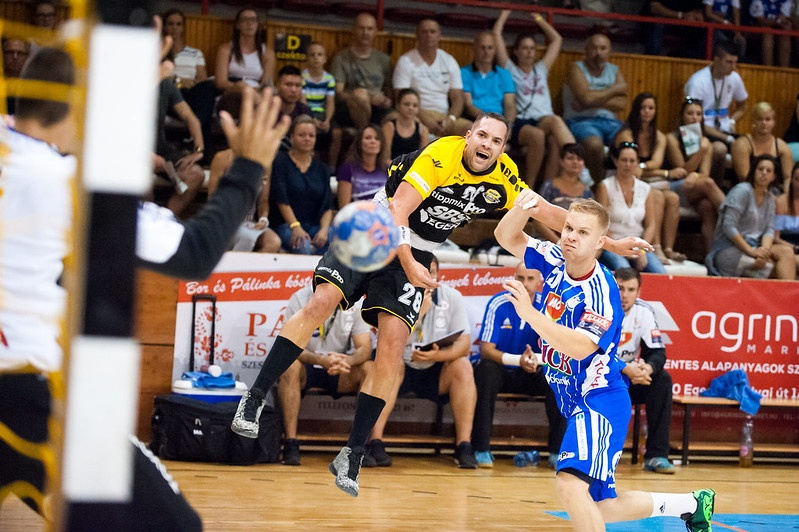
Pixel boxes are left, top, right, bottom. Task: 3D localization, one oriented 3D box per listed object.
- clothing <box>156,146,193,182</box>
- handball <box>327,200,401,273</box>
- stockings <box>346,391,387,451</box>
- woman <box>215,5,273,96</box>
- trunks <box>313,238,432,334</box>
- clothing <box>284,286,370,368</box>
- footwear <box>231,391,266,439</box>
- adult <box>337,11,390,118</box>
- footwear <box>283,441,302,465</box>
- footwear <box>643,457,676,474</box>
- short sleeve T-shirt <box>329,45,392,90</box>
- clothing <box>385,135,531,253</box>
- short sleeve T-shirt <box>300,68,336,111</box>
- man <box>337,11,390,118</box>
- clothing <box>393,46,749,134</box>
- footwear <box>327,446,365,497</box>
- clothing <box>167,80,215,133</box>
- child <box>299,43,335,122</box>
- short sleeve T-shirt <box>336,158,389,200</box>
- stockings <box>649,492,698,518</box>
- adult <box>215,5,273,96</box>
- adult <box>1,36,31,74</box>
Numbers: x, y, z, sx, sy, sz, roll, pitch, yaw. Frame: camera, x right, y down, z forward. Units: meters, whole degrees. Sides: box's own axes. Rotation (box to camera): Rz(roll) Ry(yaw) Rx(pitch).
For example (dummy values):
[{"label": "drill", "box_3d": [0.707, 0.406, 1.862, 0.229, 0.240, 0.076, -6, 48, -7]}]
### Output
[{"label": "clothing", "box_3d": [-2.218, -1.023, 8.670, 0.268, 0.411, 0.120, 35, -54, -25]}, {"label": "handball", "box_3d": [-0.179, -0.156, 4.608, 0.334, 0.358, 0.283, 4, 2, 0]}, {"label": "stockings", "box_3d": [-0.220, 0.995, 5.822, 0.233, 0.366, 0.117, 3, 2, -14]}, {"label": "woman", "box_3d": [-1.635, -2.300, 9.583, 0.696, 0.984, 0.559, 3, 2, -24]}, {"label": "trunks", "box_3d": [-0.176, 0.131, 5.860, 0.576, 0.547, 0.232, 35, -25, 5]}, {"label": "clothing", "box_3d": [-0.619, 0.479, 8.070, 0.837, 0.450, 0.818, 2, -34, -9]}, {"label": "footwear", "box_3d": [-0.972, 0.944, 5.735, 0.217, 0.314, 0.245, 3, 2, -22]}, {"label": "adult", "box_3d": [-0.379, -2.134, 9.854, 0.694, 1.320, 0.705, 3, 2, -13]}, {"label": "footwear", "box_3d": [-0.906, 1.560, 7.491, 0.110, 0.145, 0.325, 2, -13, -7]}, {"label": "footwear", "box_3d": [2.338, 1.781, 8.030, 0.108, 0.131, 0.271, 6, -8, -39]}, {"label": "short sleeve T-shirt", "box_3d": [-0.403, -2.177, 10.094, 0.764, 0.555, 0.386, -6, 20, -24]}, {"label": "clothing", "box_3d": [0.360, -0.440, 6.248, 0.899, 0.868, 0.434, 21, 32, -24]}, {"label": "short sleeve T-shirt", "box_3d": [-0.875, -1.855, 9.721, 0.399, 0.475, 0.243, 3, 1, 14]}, {"label": "man", "box_3d": [-0.383, -2.134, 9.848, 0.684, 1.320, 0.714, 3, 2, -13]}, {"label": "clothing", "box_3d": [2.838, -2.212, 11.160, 4.754, 0.898, 0.311, 3, 2, -12]}, {"label": "footwear", "box_3d": [-0.342, 1.332, 5.789, 0.199, 0.359, 0.272, 3, 2, 2]}, {"label": "clothing", "box_3d": [-2.084, -1.612, 9.091, 0.143, 0.492, 0.476, -13, 43, -45]}, {"label": "child", "box_3d": [-0.863, -1.959, 9.622, 0.364, 0.834, 0.400, 3, 2, -7]}, {"label": "short sleeve T-shirt", "box_3d": [-0.354, -0.833, 8.660, 0.576, 0.556, 0.307, 0, 5, -16]}, {"label": "stockings", "box_3d": [1.771, 1.550, 5.862, 0.393, 0.131, 0.120, 3, 2, -29]}, {"label": "adult", "box_3d": [-1.637, -2.300, 9.589, 0.696, 0.984, 0.547, 3, 2, -24]}, {"label": "adult", "box_3d": [-3.290, -1.764, 7.667, 0.182, 0.380, 0.705, 3, 2, -22]}]
